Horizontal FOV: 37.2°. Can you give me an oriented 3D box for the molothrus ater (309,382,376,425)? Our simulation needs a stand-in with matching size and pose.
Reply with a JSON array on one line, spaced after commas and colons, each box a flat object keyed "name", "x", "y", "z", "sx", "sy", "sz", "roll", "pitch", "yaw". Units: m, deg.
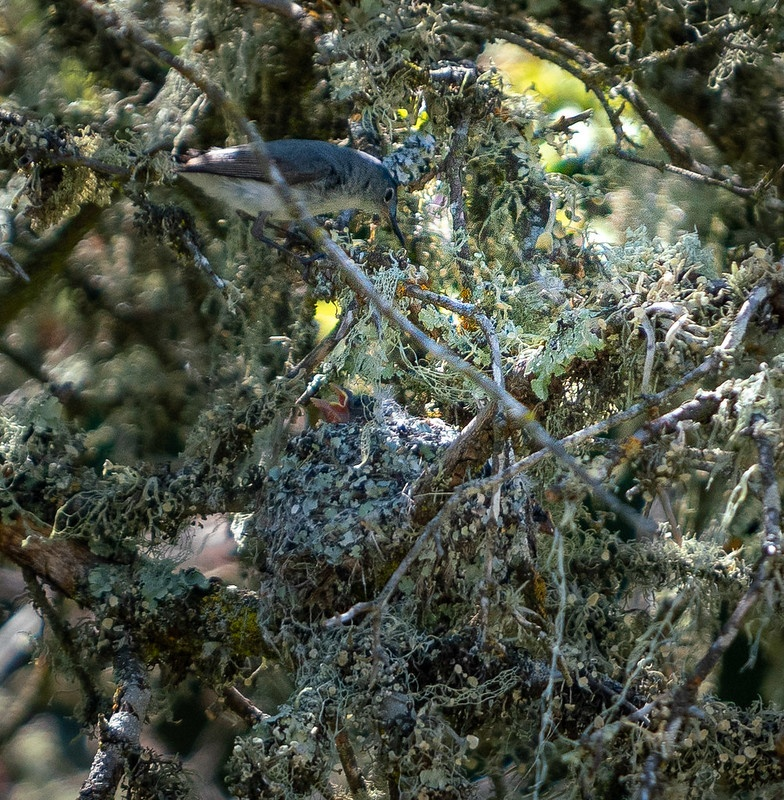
[{"name": "molothrus ater", "x": -0.140, "y": 0.018, "z": 3.627, "sx": 0.278, "sy": 0.086, "sz": 0.098, "roll": -7, "pitch": 45, "yaw": -6}]

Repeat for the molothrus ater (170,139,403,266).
[{"name": "molothrus ater", "x": -0.270, "y": -0.618, "z": 3.529, "sx": 0.479, "sy": 0.333, "sz": 0.677, "roll": 21, "pitch": 15, "yaw": 26}]

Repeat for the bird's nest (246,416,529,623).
[{"name": "bird's nest", "x": 0.010, "y": 0.332, "z": 3.354, "sx": 0.775, "sy": 0.571, "sz": 0.631, "roll": 13, "pitch": 13, "yaw": -6}]
